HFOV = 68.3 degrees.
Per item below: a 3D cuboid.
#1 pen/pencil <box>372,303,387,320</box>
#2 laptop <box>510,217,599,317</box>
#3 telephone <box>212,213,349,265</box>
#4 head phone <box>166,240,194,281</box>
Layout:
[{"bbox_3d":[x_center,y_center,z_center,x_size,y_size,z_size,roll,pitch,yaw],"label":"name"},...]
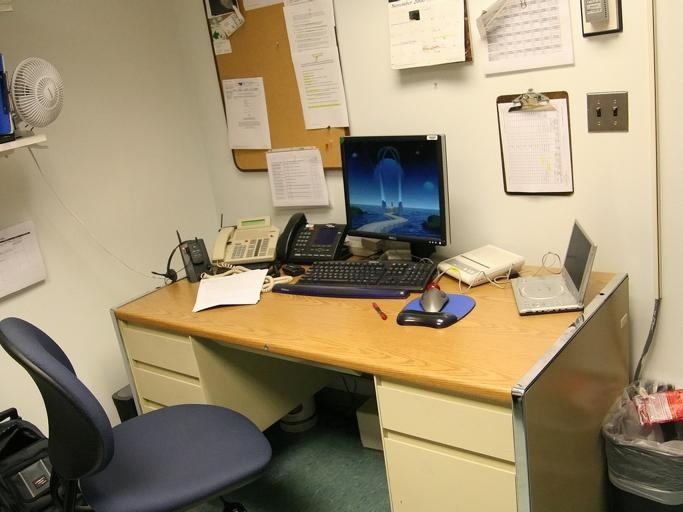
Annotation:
[{"bbox_3d":[0.128,0.194,1.775,0.019,0.013,0.090,-24,26,-6],"label":"pen/pencil"},{"bbox_3d":[0.691,0.027,1.691,0.232,0.211,0.328,-6,16,12],"label":"laptop"},{"bbox_3d":[-0.303,-0.058,2.369,0.400,0.153,0.320,1,11,20],"label":"telephone"},{"bbox_3d":[-0.789,0.023,2.457,0.057,0.180,0.157,10,6,1],"label":"head phone"}]
